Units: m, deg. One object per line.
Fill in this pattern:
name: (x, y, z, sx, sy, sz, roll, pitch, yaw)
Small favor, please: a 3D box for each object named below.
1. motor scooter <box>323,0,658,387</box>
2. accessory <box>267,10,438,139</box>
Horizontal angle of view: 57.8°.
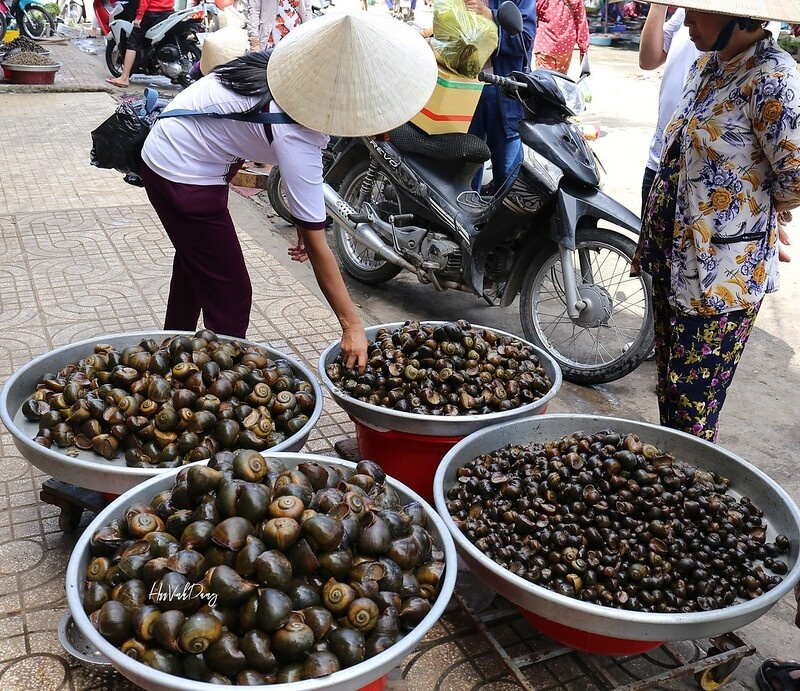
motor scooter: (0.394, -1.010, 4.774, 0.762, 1.749, 2.870, -11, 27, -43)
accessory: (-0.158, -0.929, 2.601, 0.521, 0.207, 0.514, -39, 76, -15)
